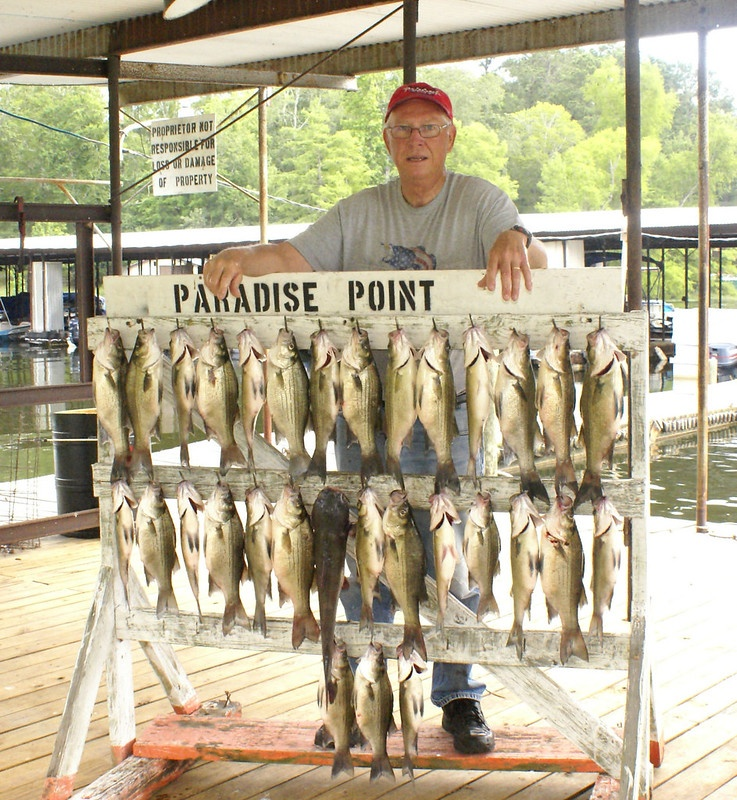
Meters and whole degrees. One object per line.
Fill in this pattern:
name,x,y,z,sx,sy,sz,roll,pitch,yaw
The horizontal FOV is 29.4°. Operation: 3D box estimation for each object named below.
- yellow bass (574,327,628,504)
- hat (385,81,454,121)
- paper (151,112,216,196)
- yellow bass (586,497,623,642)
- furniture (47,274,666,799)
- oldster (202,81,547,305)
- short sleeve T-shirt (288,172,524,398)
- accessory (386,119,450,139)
yellow bass,0.809,0.056,4.897,0.191,0.613,0.244,-2,4,10
hat,0.184,-1.160,5.423,0.265,0.167,0.229,-3,4,6
paper,-1.389,-1.834,10.493,0.745,0.734,0.035,7,6,27
yellow bass,0.832,0.589,4.929,0.131,0.526,0.193,-2,4,9
furniture,-0.024,0.562,5.240,2.078,1.844,1.040,0,1,11
oldster,0.073,-0.724,5.432,1.278,0.965,0.757,0,2,19
short sleeve T-shirt,0.151,-0.400,5.170,0.852,0.886,0.449,0,2,10
accessory,0.184,-1.026,5.373,0.232,0.068,0.075,-3,4,7
